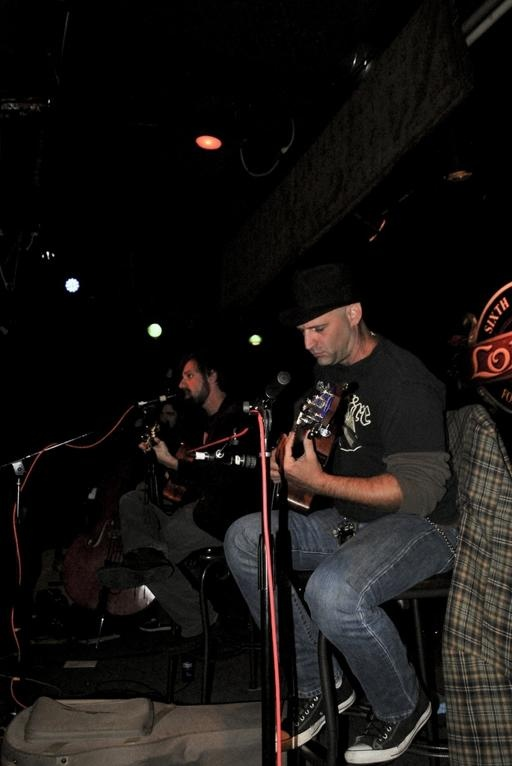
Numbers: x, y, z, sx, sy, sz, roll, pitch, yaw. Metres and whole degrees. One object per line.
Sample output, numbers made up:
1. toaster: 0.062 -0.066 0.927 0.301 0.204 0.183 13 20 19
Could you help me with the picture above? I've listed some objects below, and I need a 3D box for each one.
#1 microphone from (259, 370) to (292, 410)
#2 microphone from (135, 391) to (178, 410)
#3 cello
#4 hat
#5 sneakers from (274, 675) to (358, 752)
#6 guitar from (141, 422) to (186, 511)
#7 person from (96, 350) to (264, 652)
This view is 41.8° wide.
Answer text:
1. microphone: 0.118 0.036 3.707 0.109 0.119 0.434 -43 -1 -22
2. microphone: -0.874 0.149 5.827 0.294 0.118 0.067 -13 -40 -12
3. cello: -1.157 1.226 4.997 0.534 0.980 0.309 8 -13 -8
4. hat: 0.309 -0.384 3.090 0.374 0.190 0.266 -23 8 0
5. sneakers: 0.223 1.254 2.614 0.147 0.169 0.438 -1 3 36
6. guitar: -0.664 0.578 4.642 0.132 0.498 0.331 -13 4 -17
7. person: -0.562 0.841 4.507 1.254 2.064 0.865 8 -50 -10
